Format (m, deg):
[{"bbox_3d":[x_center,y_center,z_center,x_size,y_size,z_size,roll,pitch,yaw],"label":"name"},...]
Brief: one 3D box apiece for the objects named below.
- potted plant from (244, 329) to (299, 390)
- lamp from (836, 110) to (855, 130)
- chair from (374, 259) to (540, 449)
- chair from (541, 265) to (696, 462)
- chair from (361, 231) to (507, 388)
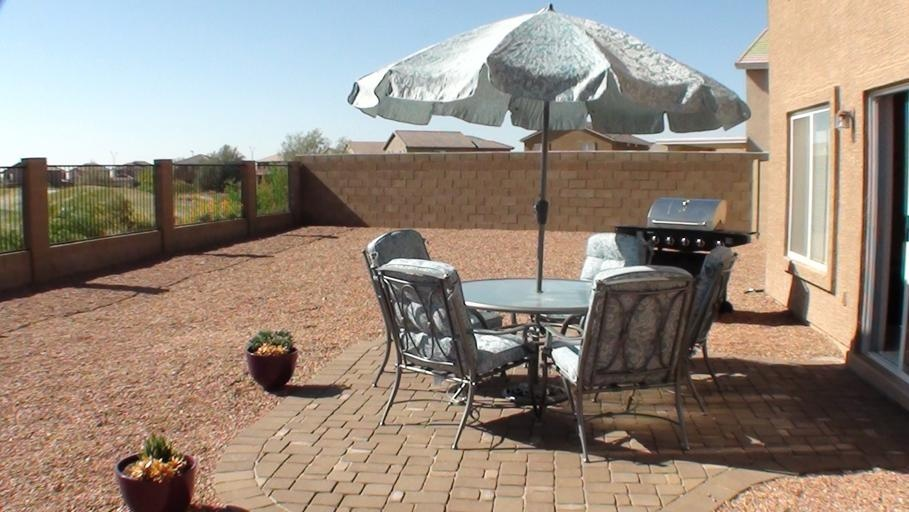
[{"bbox_3d":[-2.145,1.222,7.194,0.646,0.699,0.711,-2,-2,36],"label":"potted plant"},{"bbox_3d":[5.065,-1.772,7.710,0.263,0.266,0.208,2,1,13],"label":"lamp"},{"bbox_3d":[-0.085,0.901,6.124,1.627,1.779,0.955,0,14,1],"label":"chair"},{"bbox_3d":[1.850,0.830,6.548,1.735,2.159,1.789,0,7,-2],"label":"chair"},{"bbox_3d":[-0.269,0.477,7.572,1.997,2.501,1.671,0,5,14],"label":"chair"}]
